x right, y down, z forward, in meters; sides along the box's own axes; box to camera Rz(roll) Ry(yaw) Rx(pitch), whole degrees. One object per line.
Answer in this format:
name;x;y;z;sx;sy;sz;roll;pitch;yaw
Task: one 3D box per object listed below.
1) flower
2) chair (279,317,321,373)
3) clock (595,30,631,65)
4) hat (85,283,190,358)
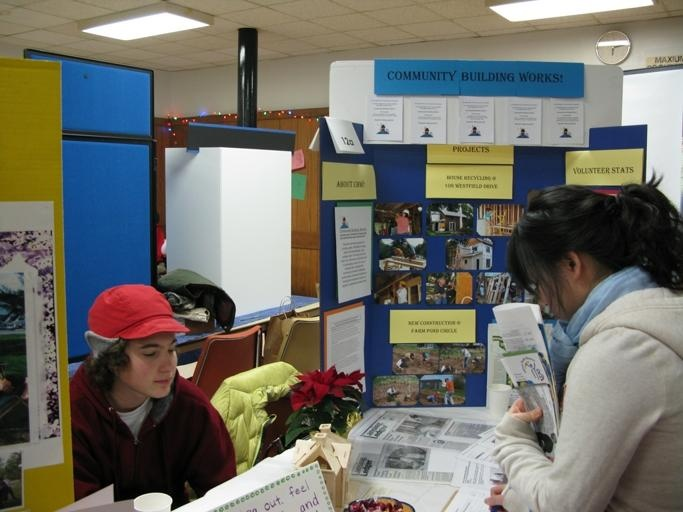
flower;-0.049;0.424;1.613;0.210;0.233;0.351;1;10;0
chair;-0.241;0.500;3.091;0.238;0.301;0.124;-2;10;-15
clock;2.445;-1.882;5.029;0.290;0.328;0.055;4;-8;16
hat;-0.597;0.192;1.597;0.241;0.120;0.194;-10;-5;25
